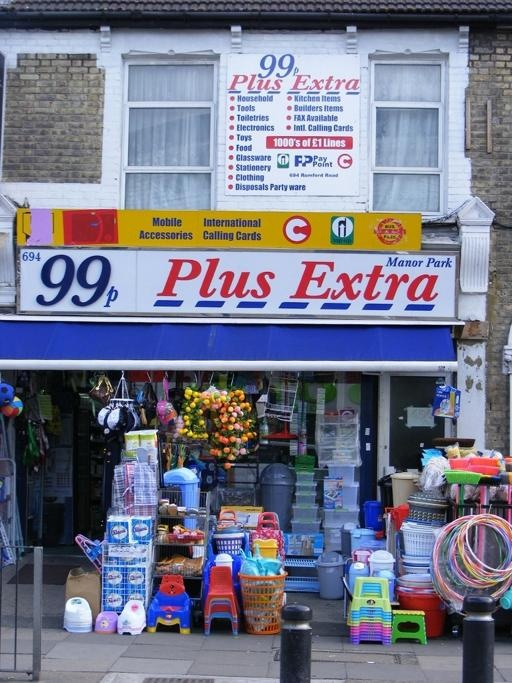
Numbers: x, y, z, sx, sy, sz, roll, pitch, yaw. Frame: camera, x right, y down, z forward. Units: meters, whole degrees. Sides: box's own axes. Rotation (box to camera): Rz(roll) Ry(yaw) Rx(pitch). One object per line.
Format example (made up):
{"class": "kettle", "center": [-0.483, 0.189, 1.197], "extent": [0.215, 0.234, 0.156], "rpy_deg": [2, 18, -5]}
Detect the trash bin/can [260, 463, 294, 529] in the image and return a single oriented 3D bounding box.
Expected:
{"class": "trash bin/can", "center": [0.238, 1.674, 16.209], "extent": [0.390, 0.721, 0.315], "rpy_deg": [0, -1, -5]}

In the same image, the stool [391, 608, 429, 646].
{"class": "stool", "center": [1.394, 2.606, 13.752], "extent": [0.290, 0.252, 0.300], "rpy_deg": [0, -12, 3]}

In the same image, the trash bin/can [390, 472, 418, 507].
{"class": "trash bin/can", "center": [1.469, 1.502, 15.216], "extent": [0.348, 0.424, 0.286], "rpy_deg": [1, -7, 3]}

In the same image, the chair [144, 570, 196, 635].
{"class": "chair", "center": [-0.817, 2.423, 13.939], "extent": [0.417, 0.522, 0.249], "rpy_deg": [0, -1, -4]}

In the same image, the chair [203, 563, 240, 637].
{"class": "chair", "center": [-0.327, 2.368, 13.783], "extent": [0.300, 0.634, 0.162], "rpy_deg": [0, -1, 0]}

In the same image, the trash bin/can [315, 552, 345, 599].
{"class": "trash bin/can", "center": [0.749, 2.354, 15.143], "extent": [0.364, 0.523, 0.380], "rpy_deg": [-2, -2, 2]}

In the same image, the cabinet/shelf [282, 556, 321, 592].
{"class": "cabinet/shelf", "center": [0.478, 2.437, 15.624], "extent": [0.270, 0.272, 0.405], "rpy_deg": [1, -7, 4]}

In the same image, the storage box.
{"class": "storage box", "center": [0.760, 1.785, 16.413], "extent": [0.671, 0.950, 0.593], "rpy_deg": [-1, 0, 2]}

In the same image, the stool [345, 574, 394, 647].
{"class": "stool", "center": [1.051, 2.440, 13.679], "extent": [0.414, 0.531, 0.501], "rpy_deg": [2, 0, 16]}

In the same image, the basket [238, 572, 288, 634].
{"class": "basket", "center": [0.049, 2.406, 13.811], "extent": [0.412, 0.562, 0.311], "rpy_deg": [0, -1, -1]}

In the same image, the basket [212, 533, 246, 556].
{"class": "basket", "center": [-0.258, 1.929, 14.437], "extent": [0.218, 0.174, 0.228], "rpy_deg": [0, -12, 1]}
